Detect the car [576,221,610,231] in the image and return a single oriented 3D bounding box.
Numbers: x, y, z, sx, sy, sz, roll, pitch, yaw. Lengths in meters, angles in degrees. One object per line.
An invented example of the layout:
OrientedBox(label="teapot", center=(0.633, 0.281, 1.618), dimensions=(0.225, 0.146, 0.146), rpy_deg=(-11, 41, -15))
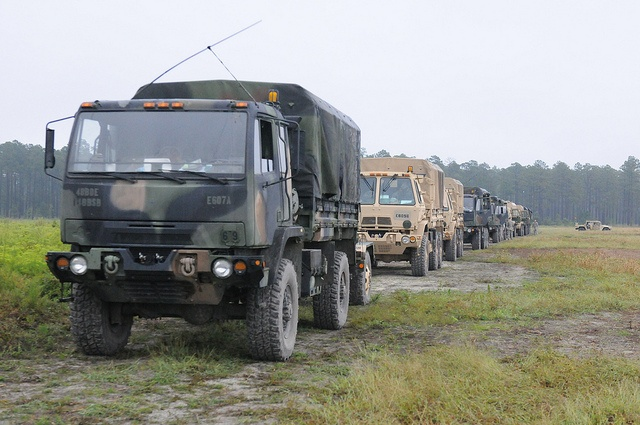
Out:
OrientedBox(label="car", center=(33.683, 1.888, 77.484), dimensions=(2.217, 1.252, 9.445), rpy_deg=(2, 2, 38))

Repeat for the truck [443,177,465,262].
OrientedBox(label="truck", center=(5.733, 0.400, 27.138), dimensions=(1.146, 2.434, 3.656), rpy_deg=(1, -1, 12))

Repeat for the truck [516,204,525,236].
OrientedBox(label="truck", center=(19.734, 0.947, 61.697), dimensions=(0.568, 2.898, 4.161), rpy_deg=(1, 2, 19))

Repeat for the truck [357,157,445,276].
OrientedBox(label="truck", center=(2.746, -0.042, 21.065), dimensions=(2.275, 2.659, 4.348), rpy_deg=(-1, -4, 11))

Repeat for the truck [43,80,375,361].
OrientedBox(label="truck", center=(-1.563, -0.046, 12.381), dimensions=(4.066, 4.693, 7.736), rpy_deg=(1, 1, 14))
